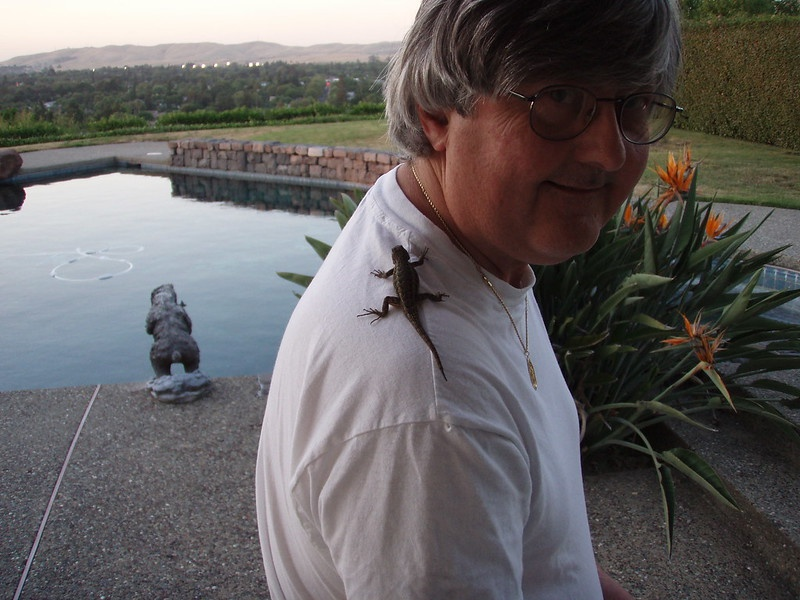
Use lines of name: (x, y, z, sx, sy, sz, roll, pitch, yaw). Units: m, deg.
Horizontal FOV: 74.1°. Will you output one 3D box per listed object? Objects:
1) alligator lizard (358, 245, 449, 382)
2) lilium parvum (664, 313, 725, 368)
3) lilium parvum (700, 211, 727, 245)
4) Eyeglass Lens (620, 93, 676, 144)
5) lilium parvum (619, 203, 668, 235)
alligator lizard: (0.029, 0.006, 0.924, 0.180, 0.141, 0.193, 11, 28, 20)
lilium parvum: (1.432, 0.190, 2.573, 0.271, 0.287, 0.225, 14, 23, 37)
lilium parvum: (1.847, -0.417, 3.083, 0.108, 0.190, 0.367, 17, 31, 29)
Eyeglass Lens: (0.463, -0.346, 0.991, 0.081, 0.105, 0.081, -11, 27, -35)
lilium parvum: (1.502, -0.511, 3.235, 0.306, 0.132, 0.320, 15, 2, 30)
